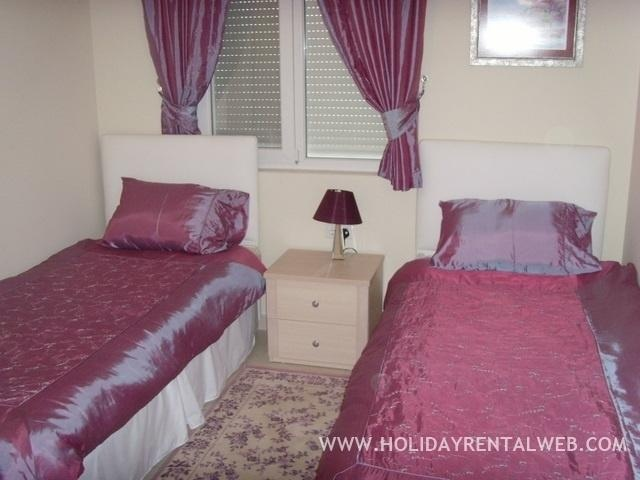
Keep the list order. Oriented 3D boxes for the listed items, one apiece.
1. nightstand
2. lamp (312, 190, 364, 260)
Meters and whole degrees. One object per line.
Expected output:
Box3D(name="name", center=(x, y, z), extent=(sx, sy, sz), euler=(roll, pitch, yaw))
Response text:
Box3D(name="nightstand", center=(0.051, 0.403, 3.151), extent=(0.644, 0.645, 0.708), euler=(3, 9, 18))
Box3D(name="lamp", center=(0.180, -0.156, 3.360), extent=(0.396, 0.571, 0.433), euler=(3, 19, 6))
